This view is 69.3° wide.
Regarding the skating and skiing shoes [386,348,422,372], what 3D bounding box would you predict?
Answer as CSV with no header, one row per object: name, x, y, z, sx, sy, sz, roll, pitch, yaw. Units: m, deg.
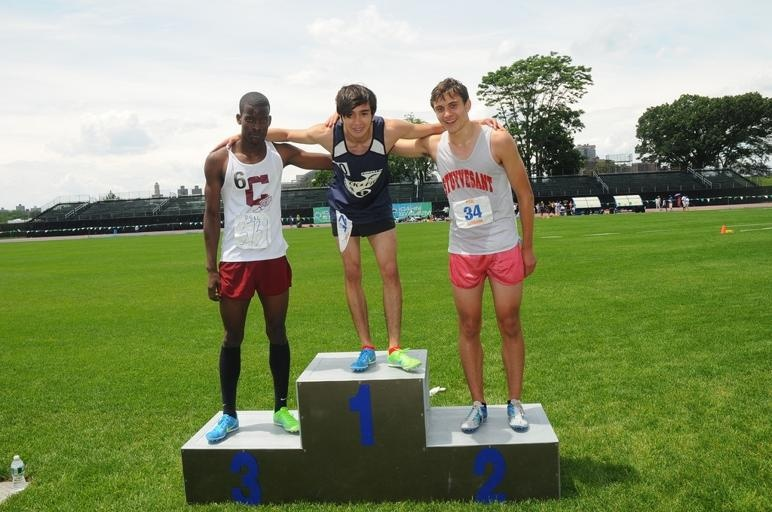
skating and skiing shoes,0.191,1.025,5.516,0.353,0.185,0.144,4,12,44

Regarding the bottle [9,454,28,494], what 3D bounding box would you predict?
bottle,-3.686,2.176,5.585,0.145,0.313,0.155,-18,-24,-8

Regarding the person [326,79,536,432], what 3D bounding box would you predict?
person,0.944,-0.065,5.708,1.112,3.408,0.930,-1,6,15

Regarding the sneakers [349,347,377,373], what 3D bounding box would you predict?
sneakers,-0.227,1.054,5.623,0.108,0.152,0.331,-3,-2,19

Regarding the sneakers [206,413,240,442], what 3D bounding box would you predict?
sneakers,-1.610,1.690,5.508,0.238,0.182,0.359,-1,8,10

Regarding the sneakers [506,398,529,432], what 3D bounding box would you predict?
sneakers,1.291,1.558,5.442,0.193,0.204,0.275,-1,8,14

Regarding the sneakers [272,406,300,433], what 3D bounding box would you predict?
sneakers,-0.984,1.654,5.597,0.146,0.188,0.397,0,2,-37

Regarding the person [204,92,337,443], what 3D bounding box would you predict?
person,-1.344,0.048,5.699,1.051,3.363,0.901,-4,6,-10
